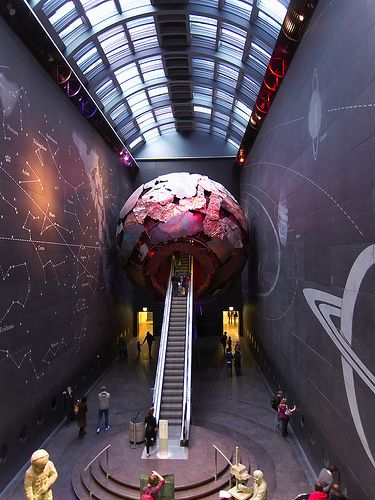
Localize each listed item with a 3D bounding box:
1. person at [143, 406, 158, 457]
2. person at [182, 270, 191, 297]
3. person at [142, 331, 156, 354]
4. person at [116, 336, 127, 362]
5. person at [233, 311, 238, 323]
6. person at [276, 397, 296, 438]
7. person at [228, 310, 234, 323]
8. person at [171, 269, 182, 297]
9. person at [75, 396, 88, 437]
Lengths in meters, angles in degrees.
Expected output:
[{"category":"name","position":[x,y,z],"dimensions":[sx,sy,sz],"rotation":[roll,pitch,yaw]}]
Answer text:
[{"category":"person","position":[-0.825,4.018,6.323],"dimensions":[0.215,1.064,0.262],"rotation":[4,1,5]},{"category":"person","position":[-0.054,1.445,12.631],"dimensions":[0.365,1.110,1.325],"rotation":[2,-9,0]},{"category":"person","position":[-2.222,5.291,16.640],"dimensions":[0.590,1.218,2.524],"rotation":[3,-9,-7]},{"category":"person","position":[-3.512,5.234,15.281],"dimensions":[0.566,1.141,1.472],"rotation":[4,-9,-14]},{"category":"person","position":[3.892,5.383,22.758],"dimensions":[0.259,0.967,1.067],"rotation":[1,-9,6]},{"category":"person","position":[2.675,4.440,7.597],"dimensions":[0.368,1.183,0.367],"rotation":[2,14,26]},{"category":"person","position":[3.644,5.597,23.693],"dimensions":[0.445,0.936,1.411],"rotation":[1,-9,10]},{"category":"person","position":[-0.490,1.549,12.804],"dimensions":[0.434,1.057,1.127],"rotation":[2,-8,-2]},{"category":"person","position":[-2.959,4.528,7.867],"dimensions":[0.330,1.157,1.250],"rotation":[4,-8,-19]}]
